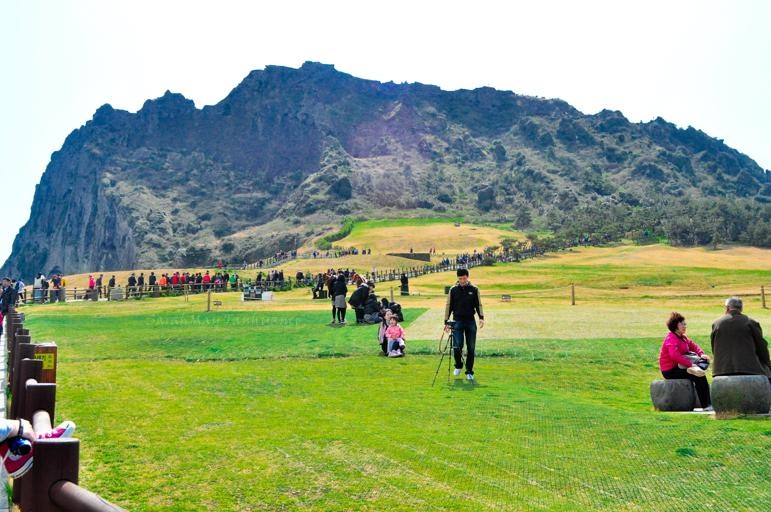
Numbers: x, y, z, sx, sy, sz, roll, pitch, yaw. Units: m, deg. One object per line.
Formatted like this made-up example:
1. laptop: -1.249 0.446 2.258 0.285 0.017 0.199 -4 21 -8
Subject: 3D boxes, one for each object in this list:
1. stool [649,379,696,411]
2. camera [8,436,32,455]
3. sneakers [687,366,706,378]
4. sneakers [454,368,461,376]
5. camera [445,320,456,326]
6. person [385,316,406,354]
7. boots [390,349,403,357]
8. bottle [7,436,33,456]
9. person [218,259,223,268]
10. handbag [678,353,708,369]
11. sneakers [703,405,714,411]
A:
1. stool: 6.667 3.145 18.092 0.758 0.589 0.809 0 1 -7
2. camera: -5.854 3.045 12.429 0.294 0.235 0.280 -10 -8 -23
3. sneakers: 7.111 2.631 17.833 0.394 0.201 0.189 15 20 29
4. sneakers: 1.901 3.071 20.669 0.191 0.183 0.422 -2 -7 5
5. camera: 1.672 1.727 20.044 0.253 0.173 0.386 -1 -4 5
6. person: 0.278 2.475 24.222 0.589 1.275 1.047 -1 -4 0
7. boots: 0.315 2.986 23.973 0.429 0.220 0.265 -1 -4 -4
8. bottle: -5.844 3.013 12.404 0.320 0.251 0.286 3 -6 -37
9. person: -25.903 1.115 121.332 1.065 1.098 1.744 -1 -14 -11
10. handbag: 7.132 2.457 17.921 0.447 0.196 0.323 28 11 36
11. sneakers: 7.380 3.477 17.714 0.304 0.132 0.103 -8 5 -33
